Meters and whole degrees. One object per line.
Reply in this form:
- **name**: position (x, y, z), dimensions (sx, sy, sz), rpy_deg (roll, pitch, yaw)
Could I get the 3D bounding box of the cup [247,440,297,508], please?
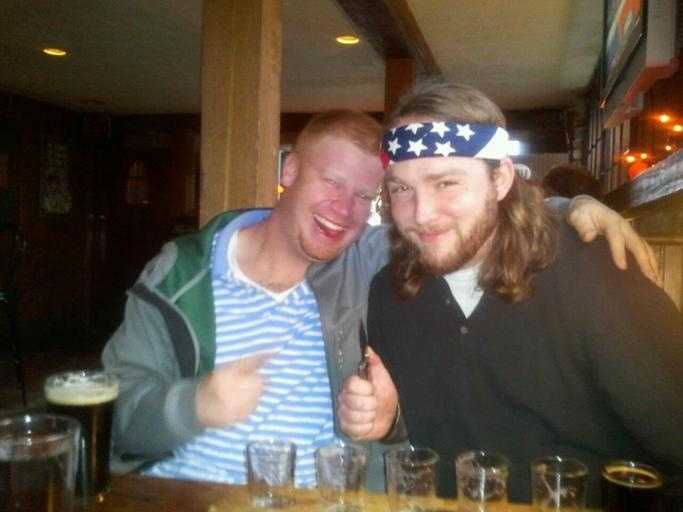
- **cup**: position (-0.237, 0.727, 2.174), dimensions (0.164, 0.202, 0.097), rpy_deg (1, -2, -7)
